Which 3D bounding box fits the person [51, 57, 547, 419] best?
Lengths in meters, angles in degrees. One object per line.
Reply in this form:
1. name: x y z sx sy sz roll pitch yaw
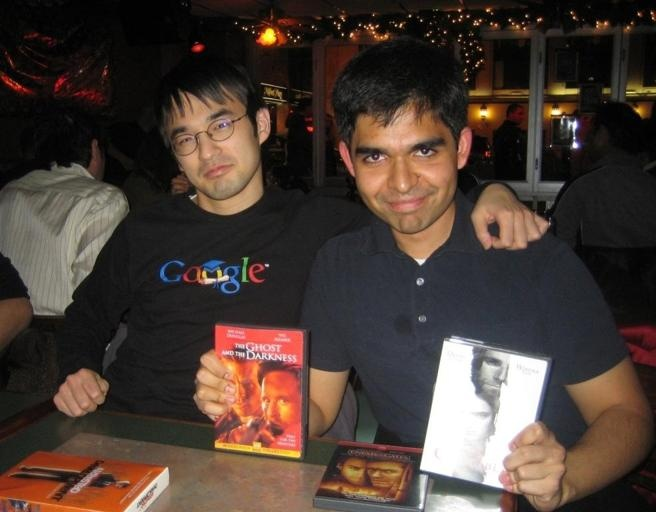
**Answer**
1. person: -0.095 0.032 1.985 1.932 1.407 0.639 -3 3 7
